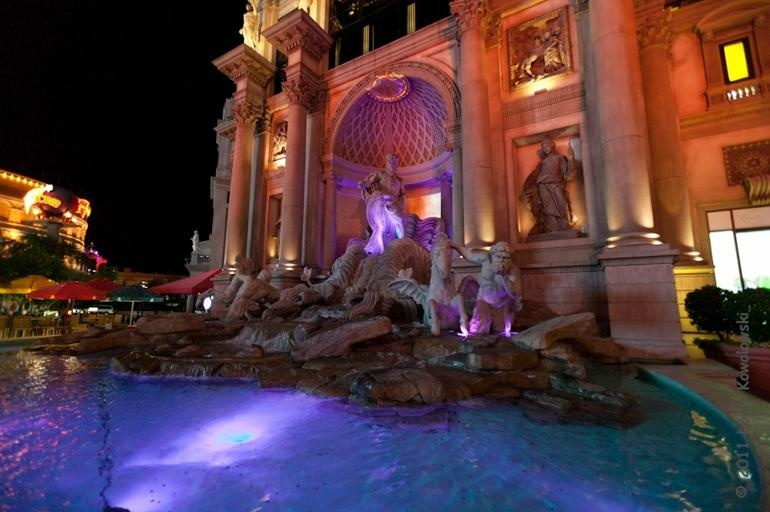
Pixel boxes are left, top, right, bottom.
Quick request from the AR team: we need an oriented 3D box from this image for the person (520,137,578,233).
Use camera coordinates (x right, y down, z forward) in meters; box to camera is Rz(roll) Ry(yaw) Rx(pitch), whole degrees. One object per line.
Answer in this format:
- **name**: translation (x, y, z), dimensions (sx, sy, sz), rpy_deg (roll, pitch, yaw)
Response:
- **person**: translation (4.676, -1.985, 12.033), dimensions (1.287, 2.682, 0.380), rpy_deg (-6, -8, 28)
